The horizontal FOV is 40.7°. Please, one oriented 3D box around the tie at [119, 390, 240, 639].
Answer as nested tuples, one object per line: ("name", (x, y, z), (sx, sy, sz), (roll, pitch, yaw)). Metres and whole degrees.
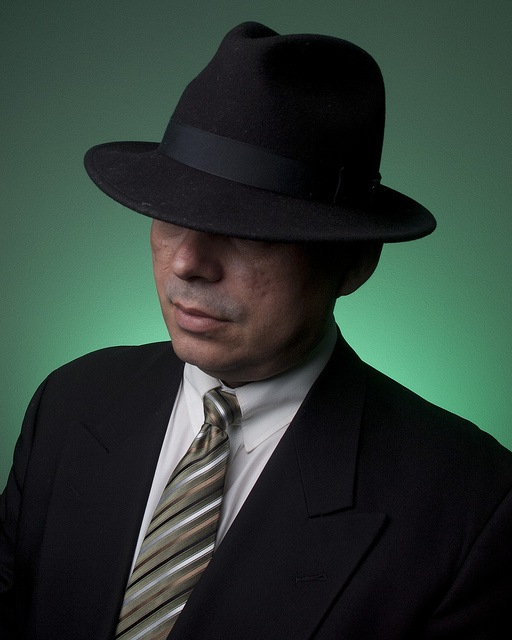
("tie", (-0.122, 0.381, 1.361), (0.151, 0.466, 0.067), (22, -25, 13))
